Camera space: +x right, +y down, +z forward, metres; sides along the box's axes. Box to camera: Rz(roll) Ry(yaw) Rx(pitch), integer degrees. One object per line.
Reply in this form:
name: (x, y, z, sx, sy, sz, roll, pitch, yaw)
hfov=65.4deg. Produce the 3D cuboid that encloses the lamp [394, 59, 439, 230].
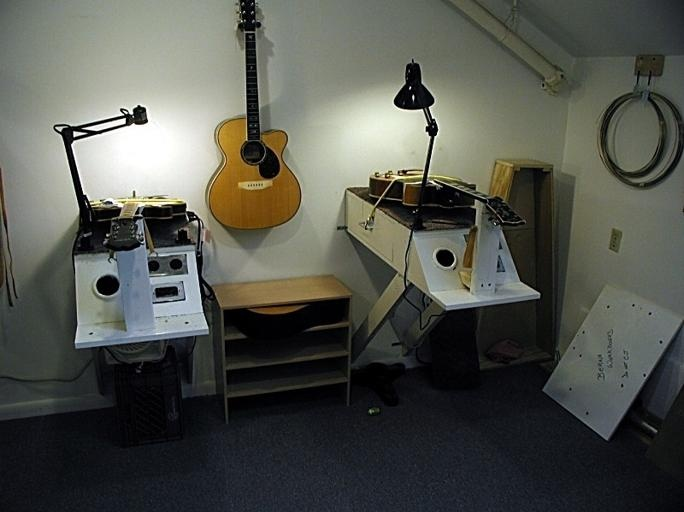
lamp: (0.462, -0.730, 3.283, 0.241, 0.928, 0.943, 0, 15, 9)

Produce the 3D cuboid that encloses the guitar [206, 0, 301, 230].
guitar: (-0.624, -0.902, 3.564, 0.635, 1.526, 0.225, -6, 13, -16)

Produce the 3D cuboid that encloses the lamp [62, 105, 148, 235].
lamp: (-1.473, -0.561, 3.370, 0.563, 0.717, 0.594, -10, 17, -29)
